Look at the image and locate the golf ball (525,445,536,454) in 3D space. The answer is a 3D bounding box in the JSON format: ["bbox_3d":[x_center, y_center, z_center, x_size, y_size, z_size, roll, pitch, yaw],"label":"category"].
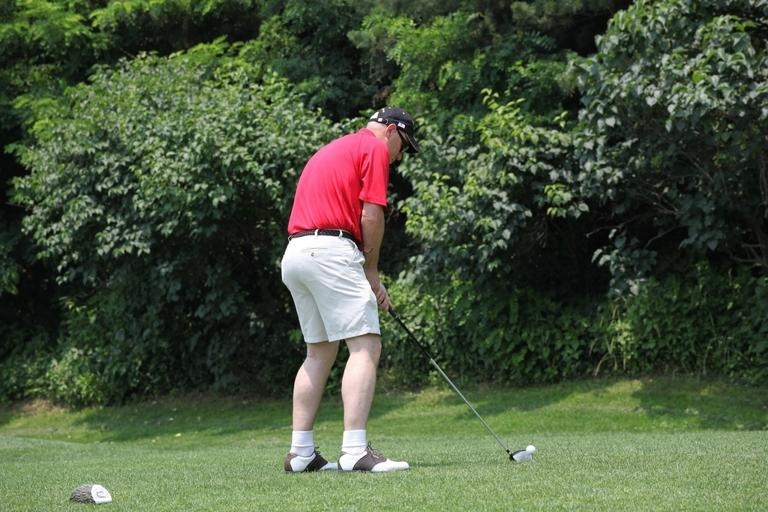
[{"bbox_3d":[1.696,2.260,11.897,0.102,0.066,0.131,-20,1,-12],"label":"golf ball"}]

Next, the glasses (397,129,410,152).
[{"bbox_3d":[0.240,-1.352,12.032,0.068,0.259,0.142,-9,9,-22],"label":"glasses"}]
